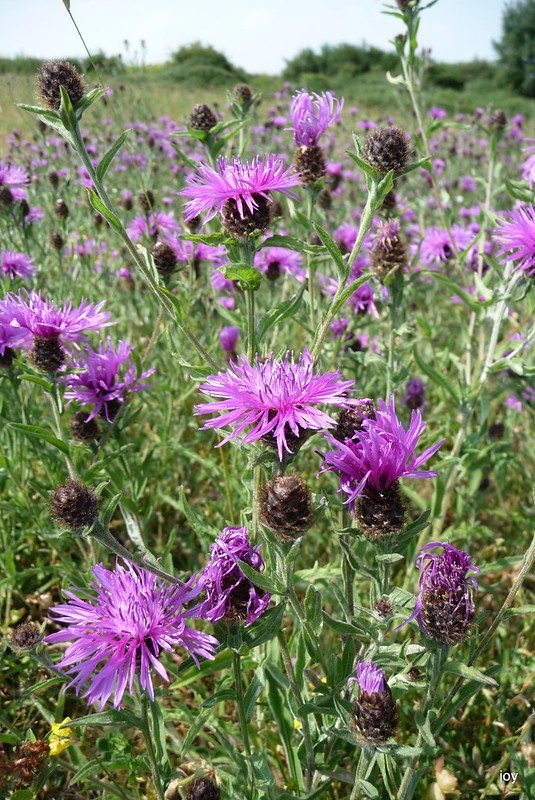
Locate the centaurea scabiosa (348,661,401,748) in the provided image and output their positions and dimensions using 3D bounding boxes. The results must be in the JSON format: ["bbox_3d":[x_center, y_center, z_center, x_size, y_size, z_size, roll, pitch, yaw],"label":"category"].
[{"bbox_3d":[0.265,0.725,1.791,0.107,0.154,0.183,0,18,7],"label":"centaurea scabiosa"}]

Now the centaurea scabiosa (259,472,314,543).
[{"bbox_3d":[0.045,0.254,1.711,0.148,0.136,0.150,1,-1,-15],"label":"centaurea scabiosa"}]

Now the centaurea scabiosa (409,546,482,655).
[{"bbox_3d":[0.443,0.467,1.795,0.140,0.251,0.228,4,19,18],"label":"centaurea scabiosa"}]

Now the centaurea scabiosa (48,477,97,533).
[{"bbox_3d":[-0.487,0.268,1.889,0.132,0.125,0.122,-7,62,-6],"label":"centaurea scabiosa"}]
